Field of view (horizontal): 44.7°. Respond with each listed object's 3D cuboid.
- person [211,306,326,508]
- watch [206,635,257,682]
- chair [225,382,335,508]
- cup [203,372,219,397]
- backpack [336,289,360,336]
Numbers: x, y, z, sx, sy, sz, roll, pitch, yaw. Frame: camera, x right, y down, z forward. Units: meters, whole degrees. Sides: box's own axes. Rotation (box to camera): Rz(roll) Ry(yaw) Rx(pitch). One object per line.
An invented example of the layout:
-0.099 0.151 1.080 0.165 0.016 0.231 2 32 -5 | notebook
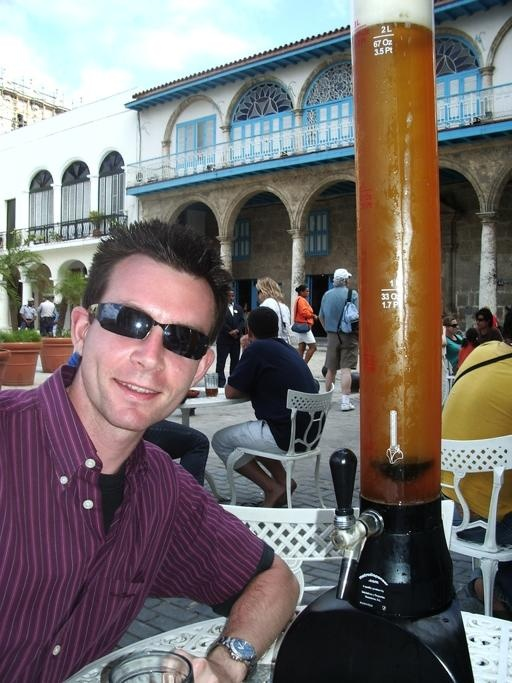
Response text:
0.140 0.529 5.027 0.908 1.663 0.740 0 -1 28 | person
-0.048 0.633 1.254 0.096 0.058 0.061 -1 2 2 | watch
0.218 0.806 4.854 0.667 0.901 0.653 4 1 29 | chair
-0.417 0.368 5.335 0.165 0.250 0.164 0 -7 0 | cup
1.465 -0.480 9.927 0.304 0.654 0.366 -7 14 -20 | backpack
